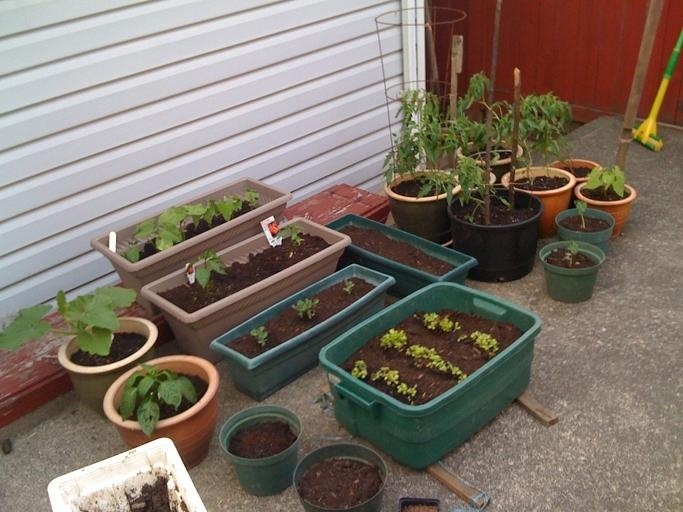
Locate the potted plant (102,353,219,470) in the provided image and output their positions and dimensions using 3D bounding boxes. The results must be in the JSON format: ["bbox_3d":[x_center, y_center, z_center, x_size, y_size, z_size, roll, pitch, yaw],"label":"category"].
[{"bbox_3d":[-0.905,0.825,2.940,0.606,0.420,0.604,-3,28,2],"label":"potted plant"}]

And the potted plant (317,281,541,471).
[{"bbox_3d":[0.533,0.629,2.884,1.160,0.462,0.849,-34,41,-29],"label":"potted plant"}]

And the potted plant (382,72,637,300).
[{"bbox_3d":[1.175,-0.706,4.393,1.641,1.300,1.804,9,32,28],"label":"potted plant"}]
